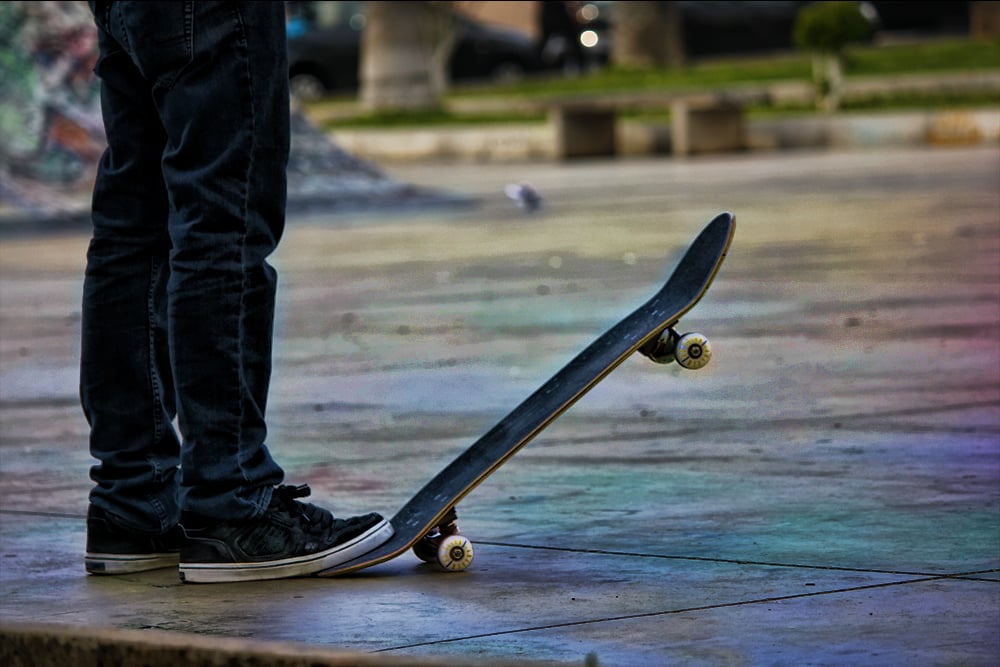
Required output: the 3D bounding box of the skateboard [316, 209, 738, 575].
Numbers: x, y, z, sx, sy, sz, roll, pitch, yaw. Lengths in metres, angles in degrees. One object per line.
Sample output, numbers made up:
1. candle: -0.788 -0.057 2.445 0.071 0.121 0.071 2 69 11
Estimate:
1. skateboard: 0.089 0.221 7.063 1.733 0.275 0.394 -35 8 -1
